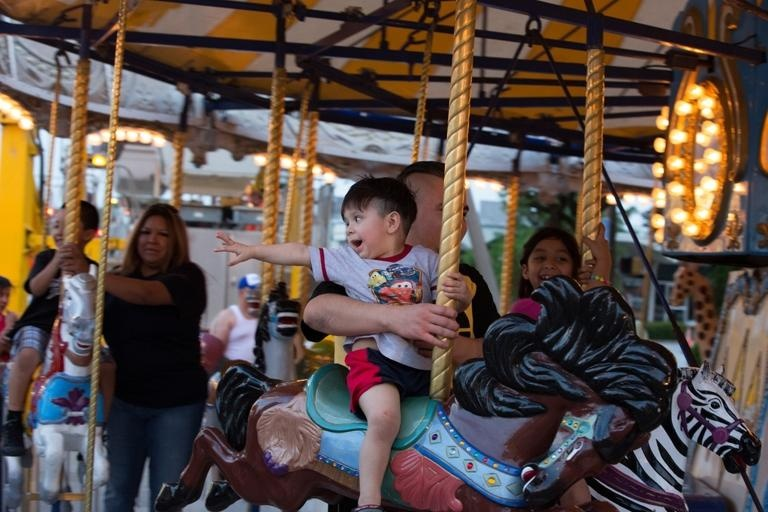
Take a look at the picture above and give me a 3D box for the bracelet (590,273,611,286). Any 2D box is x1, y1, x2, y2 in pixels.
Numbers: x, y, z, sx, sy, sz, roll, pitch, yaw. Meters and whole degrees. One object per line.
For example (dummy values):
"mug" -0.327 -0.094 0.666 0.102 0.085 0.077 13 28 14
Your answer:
"bracelet" 1.160 0.129 4.695 0.066 0.020 0.069 20 14 23

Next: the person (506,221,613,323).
"person" 1.124 0.210 5.753 0.684 0.813 0.553 -5 -28 15

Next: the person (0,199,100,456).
"person" -2.214 0.454 5.515 0.664 1.624 0.468 5 0 18

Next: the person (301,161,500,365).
"person" -0.069 0.186 4.656 0.701 1.169 1.195 -5 -12 -40

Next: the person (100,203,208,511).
"person" -1.437 0.648 5.477 0.666 1.929 0.546 5 0 -14

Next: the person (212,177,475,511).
"person" -0.117 0.405 4.318 1.019 1.666 0.448 5 0 -9

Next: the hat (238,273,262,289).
"hat" -1.225 0.238 7.953 0.170 0.138 0.271 2 -6 -16
